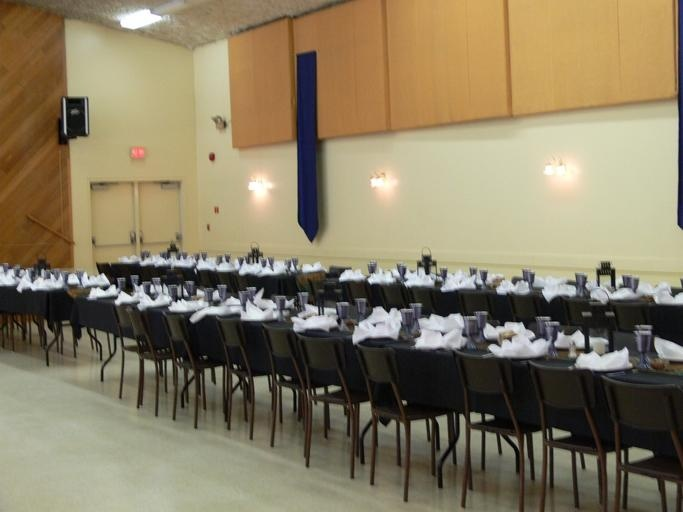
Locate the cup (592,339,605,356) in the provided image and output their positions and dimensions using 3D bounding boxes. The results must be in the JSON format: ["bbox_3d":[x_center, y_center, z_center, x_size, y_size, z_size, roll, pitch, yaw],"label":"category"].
[{"bbox_3d":[1.648,0.592,3.815,0.078,0.092,0.082,2,-4,0],"label":"cup"}]

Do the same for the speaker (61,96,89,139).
[{"bbox_3d":[-5.683,-2.954,12.669,0.508,0.828,0.311,-5,7,-26],"label":"speaker"}]
